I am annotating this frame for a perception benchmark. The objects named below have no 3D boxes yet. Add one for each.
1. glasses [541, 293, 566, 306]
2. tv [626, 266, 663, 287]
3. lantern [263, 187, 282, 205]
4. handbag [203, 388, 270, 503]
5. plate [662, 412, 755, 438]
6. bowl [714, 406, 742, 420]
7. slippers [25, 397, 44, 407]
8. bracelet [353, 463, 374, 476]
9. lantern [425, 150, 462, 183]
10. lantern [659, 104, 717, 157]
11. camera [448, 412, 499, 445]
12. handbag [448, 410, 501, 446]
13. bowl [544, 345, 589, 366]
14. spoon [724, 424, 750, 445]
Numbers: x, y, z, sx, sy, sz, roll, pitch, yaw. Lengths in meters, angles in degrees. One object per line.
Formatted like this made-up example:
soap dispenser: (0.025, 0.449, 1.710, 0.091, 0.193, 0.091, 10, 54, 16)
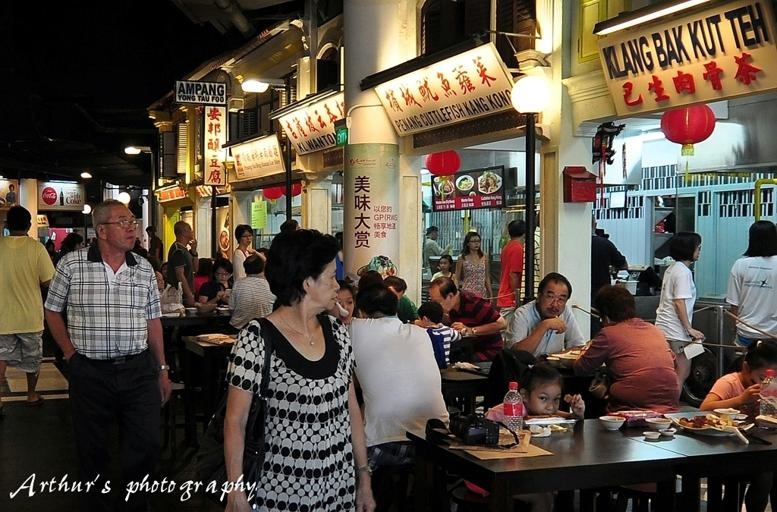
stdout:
glasses: (1.490, 0.391, 5.815, 0.131, 0.107, 0.177, 6, -2, 9)
tv: (3.823, 0.295, 9.462, 0.345, 0.322, 0.488, -17, -3, 0)
lantern: (-2.830, -1.499, 15.598, 0.381, 0.429, 0.376, -4, 10, -22)
handbag: (-0.788, 0.962, 3.220, 0.315, 0.588, 0.160, -1, 1, 25)
plate: (2.051, 1.094, 4.068, 0.302, 0.070, 0.221, 1, -1, 8)
bowl: (2.301, 1.078, 4.335, 0.119, 0.042, 0.117, -2, 1, 0)
slippers: (-4.416, 1.826, 7.960, 0.215, 0.089, 0.093, -2, 28, -43)
bracelet: (-0.143, 1.208, 3.536, 0.138, 0.069, 0.180, 2, -8, -2)
lantern: (0.909, -1.447, 10.248, 0.441, 0.586, 0.436, -2, 4, -8)
lantern: (3.364, -1.456, 7.213, 0.543, 0.628, 0.565, 2, -4, 24)
camera: (0.500, 1.030, 3.903, 0.277, 0.168, 0.304, 4, 3, -14)
handbag: (0.551, 1.110, 3.870, 0.278, 0.164, 0.324, 12, -34, 9)
bowl: (1.596, 0.923, 5.745, 0.295, 0.069, 0.257, -6, -1, 29)
spoon: (2.152, 1.114, 3.955, 0.075, 0.025, 0.106, 9, 15, -42)
